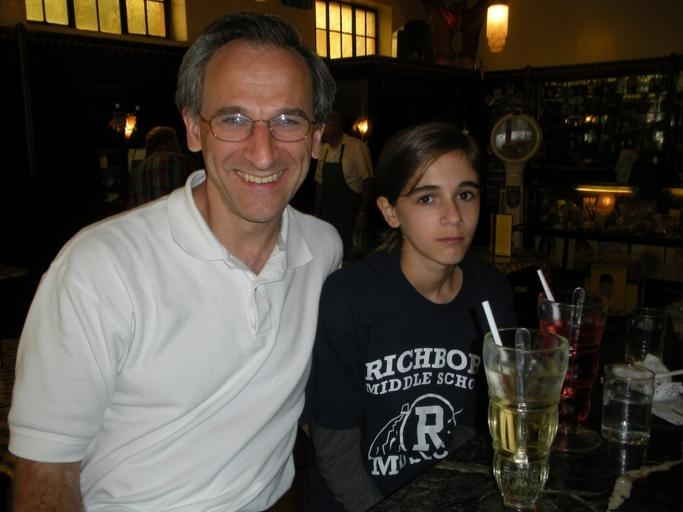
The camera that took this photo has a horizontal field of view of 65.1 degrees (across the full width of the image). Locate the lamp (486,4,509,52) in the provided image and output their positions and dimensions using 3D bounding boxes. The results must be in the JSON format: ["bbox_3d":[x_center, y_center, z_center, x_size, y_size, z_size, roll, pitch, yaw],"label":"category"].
[{"bbox_3d":[2.000,-2.946,6.852,0.247,0.557,0.265,-2,13,12],"label":"lamp"}]

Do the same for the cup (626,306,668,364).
[{"bbox_3d":[1.128,0.305,1.988,0.116,0.186,0.065,-4,12,3],"label":"cup"}]

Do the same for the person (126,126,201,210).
[{"bbox_3d":[-1.738,-0.719,4.994,0.646,0.888,0.417,0,-14,16],"label":"person"}]

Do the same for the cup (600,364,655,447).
[{"bbox_3d":[0.826,0.428,1.548,0.127,0.187,0.190,2,14,29],"label":"cup"}]

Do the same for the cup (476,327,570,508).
[{"bbox_3d":[0.457,0.387,1.327,0.194,0.401,0.241,-2,13,13],"label":"cup"}]
